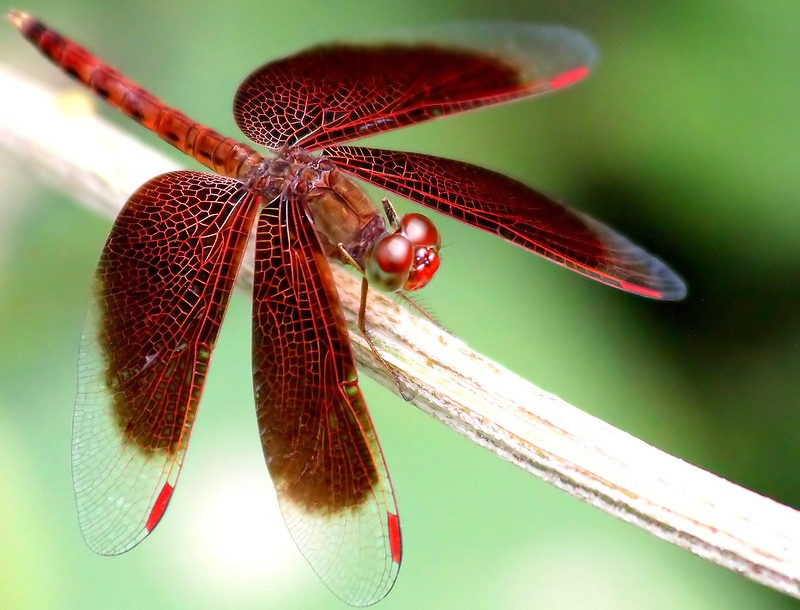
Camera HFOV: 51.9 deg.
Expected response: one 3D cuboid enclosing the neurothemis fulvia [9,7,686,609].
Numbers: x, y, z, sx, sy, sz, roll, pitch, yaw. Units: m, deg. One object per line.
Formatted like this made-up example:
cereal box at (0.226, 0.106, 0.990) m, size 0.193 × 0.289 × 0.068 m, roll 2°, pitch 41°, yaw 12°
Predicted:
neurothemis fulvia at (-0.402, 0.150, 4.238) m, size 2.139 × 2.972 × 2.526 m, roll -19°, pitch 40°, yaw -39°
